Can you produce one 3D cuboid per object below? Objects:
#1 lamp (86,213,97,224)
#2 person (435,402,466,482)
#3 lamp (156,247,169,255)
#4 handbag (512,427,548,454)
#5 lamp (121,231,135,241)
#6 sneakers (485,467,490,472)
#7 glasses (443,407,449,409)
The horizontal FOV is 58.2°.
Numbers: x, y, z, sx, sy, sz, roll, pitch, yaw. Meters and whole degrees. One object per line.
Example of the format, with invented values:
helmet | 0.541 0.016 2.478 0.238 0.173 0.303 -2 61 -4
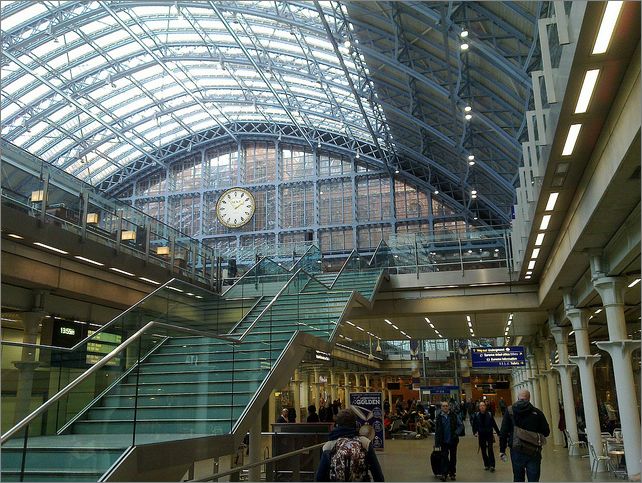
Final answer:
lamp | -6.465 -0.653 16.296 0.297 0.232 0.270 -4 0 9
person | 3.277 5.021 14.646 0.735 1.891 1.111 -5 -21 10
lamp | -5.393 0.309 19.669 0.300 0.151 0.276 -5 -7 16
handbag | 3.575 3.414 9.892 0.568 0.482 0.259 -3 -21 8
lamp | -5.971 -0.186 17.823 0.322 0.158 0.293 -4 -3 11
sneakers | 4.578 6.248 15.863 0.060 0.099 0.162 1 14 21
glasses | 3.156 4.181 14.598 0.109 0.060 0.123 -3 -25 6
